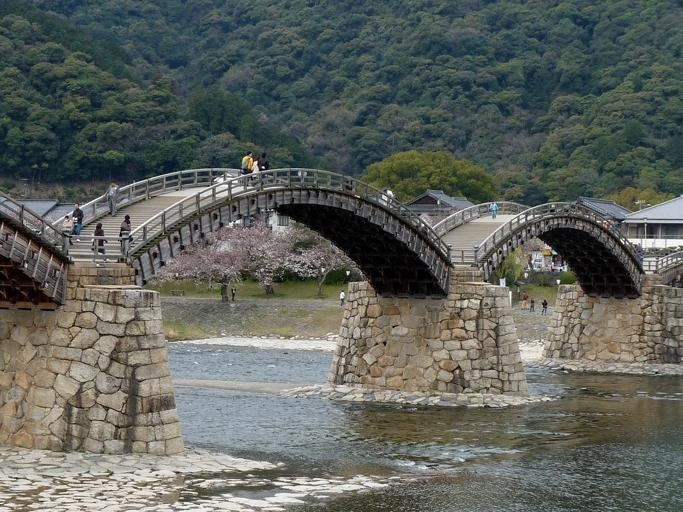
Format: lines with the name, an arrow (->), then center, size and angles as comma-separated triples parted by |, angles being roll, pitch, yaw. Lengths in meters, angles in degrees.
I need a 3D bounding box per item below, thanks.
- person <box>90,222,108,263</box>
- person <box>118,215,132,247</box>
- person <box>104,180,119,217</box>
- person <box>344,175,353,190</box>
person -> -7.645, -0.507, 30.712 | 0.428, 1.317, 2.146 | -1, -7, -14
person -> -6.810, -0.830, 30.751 | 0.363, 1.044, 1.329 | -1, -8, -12
person -> -7.902, -2.001, 33.665 | 0.449, 1.233, 1.178 | -1, -8, -14
person -> 0.269, -2.746, 37.134 | 0.355, 0.711, 0.894 | -3, -8, 1
